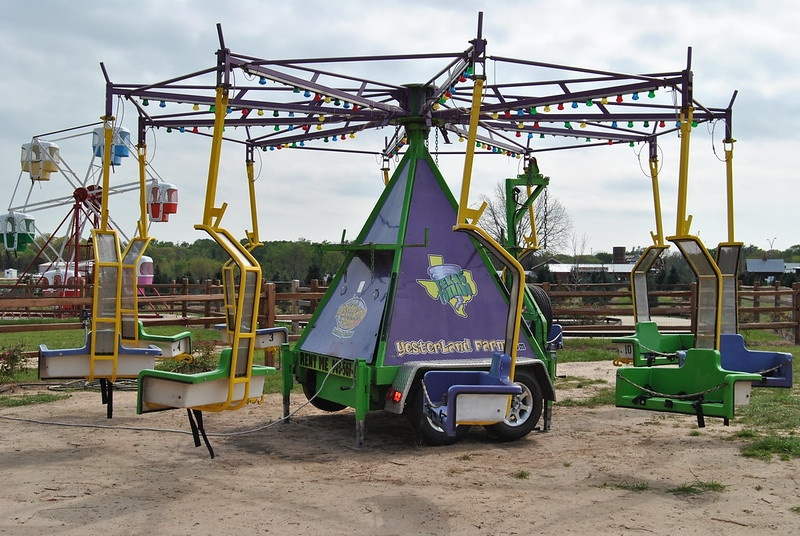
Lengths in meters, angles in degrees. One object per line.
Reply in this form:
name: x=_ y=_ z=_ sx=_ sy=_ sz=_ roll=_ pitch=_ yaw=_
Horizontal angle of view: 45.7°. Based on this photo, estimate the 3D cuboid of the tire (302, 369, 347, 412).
tire: x=-1.442 y=2.299 z=17.093 sx=0.586 sy=0.966 sz=0.995 roll=3 pitch=12 yaw=17

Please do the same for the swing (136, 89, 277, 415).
swing: x=-2.965 y=-0.424 z=14.935 sx=2.962 sy=6.029 sz=1.918 roll=1 pitch=-3 yaw=-19

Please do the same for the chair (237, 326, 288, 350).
chair: x=-2.420 y=1.276 z=16.992 sx=0.624 sy=0.238 sz=0.465 roll=2 pitch=-7 yaw=-41
